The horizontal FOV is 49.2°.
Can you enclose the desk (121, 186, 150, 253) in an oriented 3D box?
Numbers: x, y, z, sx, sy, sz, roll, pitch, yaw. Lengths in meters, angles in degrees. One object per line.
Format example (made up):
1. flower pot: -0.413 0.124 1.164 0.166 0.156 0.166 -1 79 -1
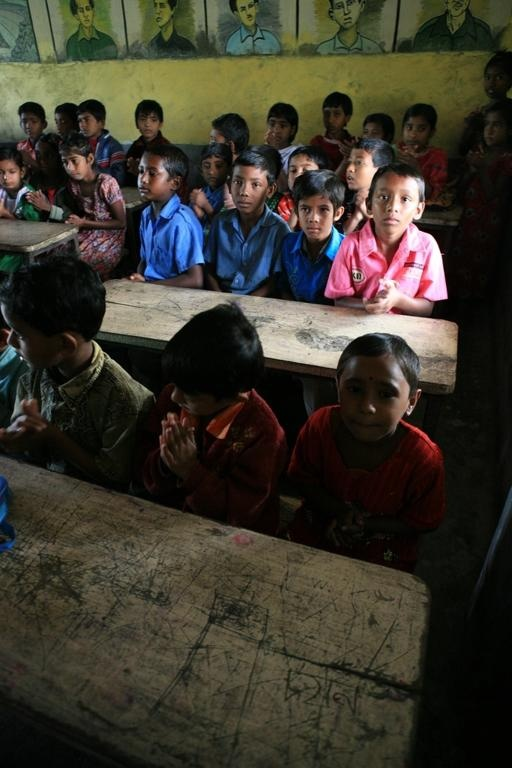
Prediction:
1. desk: -0.821 -1.112 3.827 0.190 0.358 0.557 -9 27 -8
